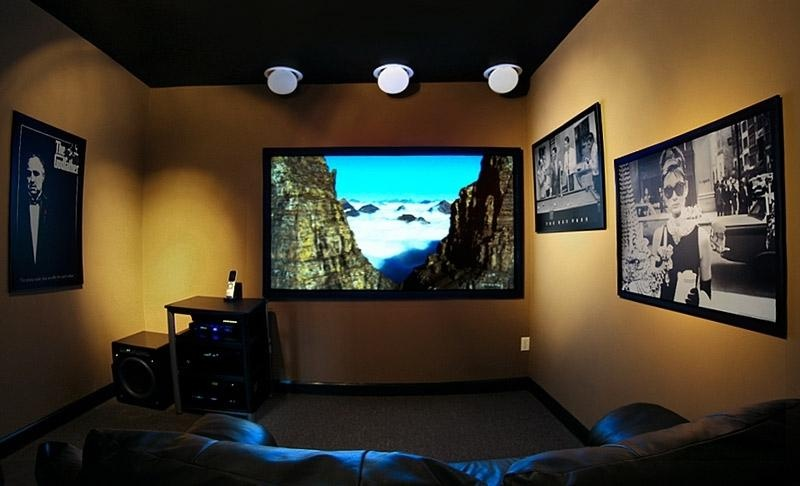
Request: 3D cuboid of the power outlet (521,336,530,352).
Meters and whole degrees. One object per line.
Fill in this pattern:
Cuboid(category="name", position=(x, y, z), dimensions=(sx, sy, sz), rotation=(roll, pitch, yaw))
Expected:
Cuboid(category="power outlet", position=(1.178, 0.957, 4.987), dimensions=(0.089, 0.114, 0.026), rotation=(-2, 1, 16))

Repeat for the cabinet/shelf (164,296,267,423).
Cuboid(category="cabinet/shelf", position=(-1.578, 1.013, 4.783), dimensions=(0.865, 0.947, 0.650), rotation=(-1, 7, 7))

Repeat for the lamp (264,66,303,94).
Cuboid(category="lamp", position=(-1.075, -1.480, 4.875), dimensions=(0.338, 0.247, 0.328), rotation=(-3, 1, -38))

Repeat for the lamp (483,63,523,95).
Cuboid(category="lamp", position=(0.939, -1.485, 4.822), dimensions=(0.340, 0.231, 0.357), rotation=(-2, 1, 10))

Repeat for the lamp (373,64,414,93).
Cuboid(category="lamp", position=(-0.062, -1.477, 4.816), dimensions=(0.344, 0.243, 0.387), rotation=(-2, 1, 17))

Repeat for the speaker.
Cuboid(category="speaker", position=(-2.297, 1.167, 4.907), dimensions=(0.701, 0.647, 0.548), rotation=(0, 5, 7))
